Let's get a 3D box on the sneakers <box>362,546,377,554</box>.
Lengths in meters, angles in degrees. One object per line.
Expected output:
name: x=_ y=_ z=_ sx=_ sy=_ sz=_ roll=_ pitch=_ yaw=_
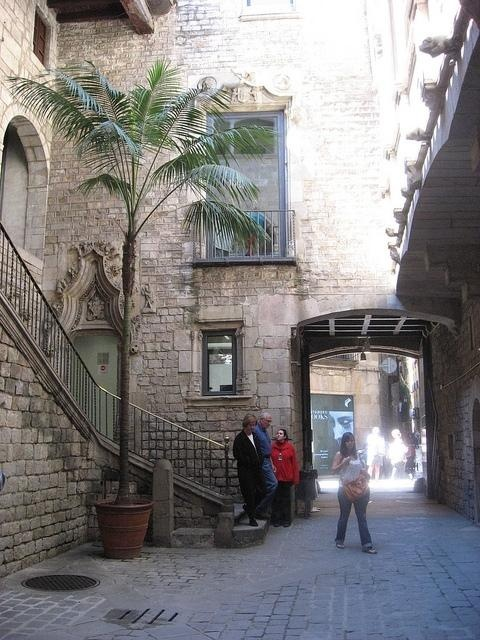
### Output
sneakers: x=1.408 y=2.451 z=6.235 sx=0.058 sy=0.074 sz=0.167 roll=4 pitch=-14 yaw=-14

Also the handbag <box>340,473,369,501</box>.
handbag: x=1.254 y=1.820 z=6.312 sx=0.283 sy=0.236 sz=0.133 roll=-5 pitch=-9 yaw=30
